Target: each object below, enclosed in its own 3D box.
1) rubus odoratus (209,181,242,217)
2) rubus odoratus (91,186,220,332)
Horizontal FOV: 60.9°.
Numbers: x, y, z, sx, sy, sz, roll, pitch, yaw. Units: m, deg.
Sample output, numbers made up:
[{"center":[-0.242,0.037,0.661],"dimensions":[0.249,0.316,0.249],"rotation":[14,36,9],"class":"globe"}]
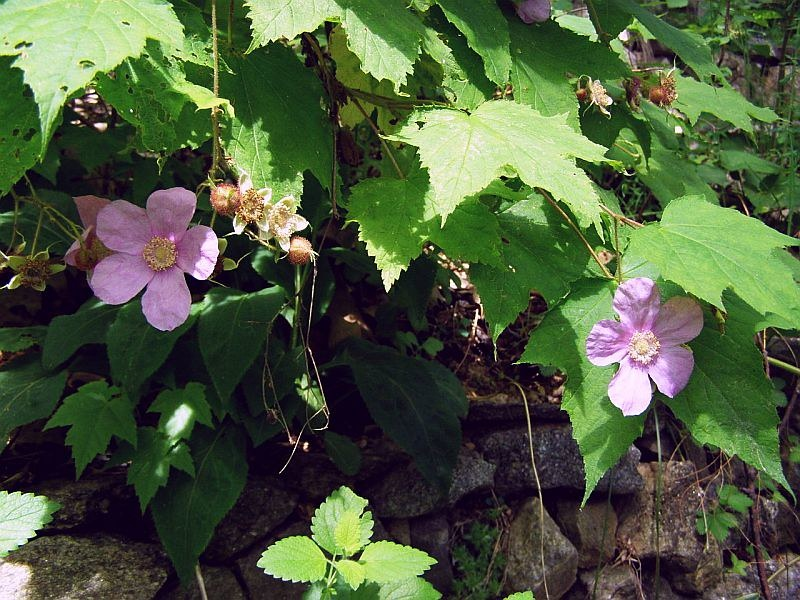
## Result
[{"center":[-0.534,-0.306,2.068],"dimensions":[0.106,0.090,0.073],"rotation":[14,26,19],"class":"rubus odoratus"},{"center":[-0.766,-0.134,2.128],"dimensions":[0.389,0.385,0.223],"rotation":[5,24,-1],"class":"rubus odoratus"}]
